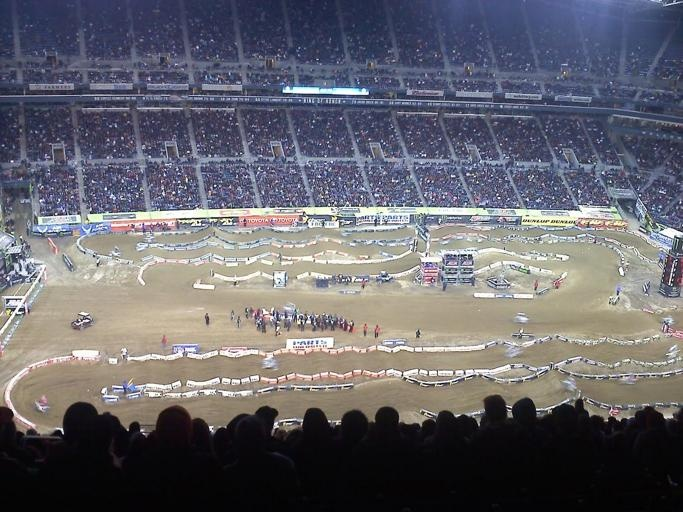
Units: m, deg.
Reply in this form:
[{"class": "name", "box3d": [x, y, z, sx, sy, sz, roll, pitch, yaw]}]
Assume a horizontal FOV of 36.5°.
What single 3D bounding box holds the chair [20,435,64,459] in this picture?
[{"class": "chair", "box3d": [-16.840, 10.682, 59.751, 1.715, 1.950, 1.550, 13, -19, -30]}]
